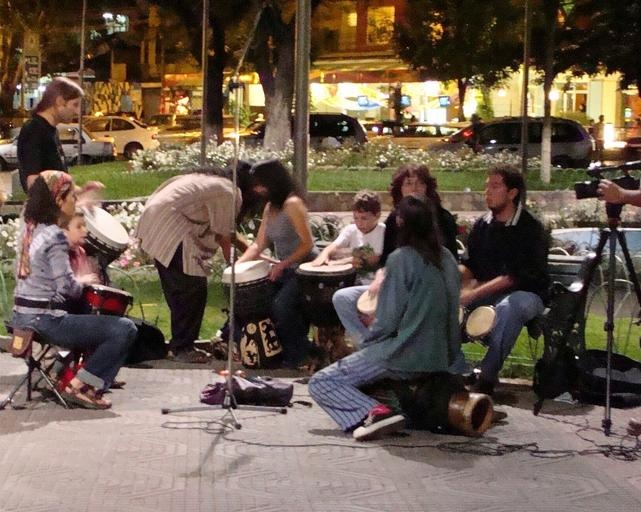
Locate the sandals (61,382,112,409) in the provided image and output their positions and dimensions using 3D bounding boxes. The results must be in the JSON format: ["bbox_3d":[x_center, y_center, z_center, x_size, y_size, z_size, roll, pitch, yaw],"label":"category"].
[{"bbox_3d":[-1.623,0.969,4.758,0.320,0.126,0.168,23,43,4],"label":"sandals"}]

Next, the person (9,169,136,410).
[{"bbox_3d":[-1.766,0.227,4.851,0.888,1.649,0.520,1,6,-10],"label":"person"}]

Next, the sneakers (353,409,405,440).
[{"bbox_3d":[0.371,1.065,4.315,0.316,0.188,0.216,2,6,5],"label":"sneakers"}]

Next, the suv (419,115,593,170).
[{"bbox_3d":[6.041,-3.965,21.243,5.124,1.907,2.318,1,5,-6],"label":"suv"}]

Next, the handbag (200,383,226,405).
[{"bbox_3d":[-0.758,0.973,4.895,0.163,0.078,0.181,3,13,0],"label":"handbag"}]
